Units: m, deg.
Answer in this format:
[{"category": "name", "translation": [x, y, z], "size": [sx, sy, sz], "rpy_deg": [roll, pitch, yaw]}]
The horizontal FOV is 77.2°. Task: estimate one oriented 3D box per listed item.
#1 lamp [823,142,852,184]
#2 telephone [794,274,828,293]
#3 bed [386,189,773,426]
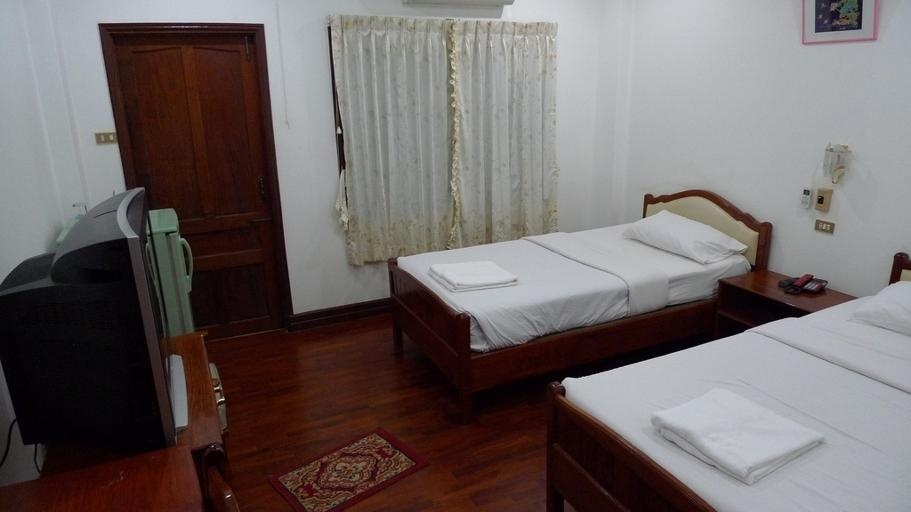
[{"category": "lamp", "translation": [3.355, -0.794, 5.031], "size": [0.191, 0.331, 0.067], "rpy_deg": [8, 24, 31]}, {"category": "telephone", "translation": [3.152, 0.260, 5.093], "size": [0.203, 0.053, 0.200], "rpy_deg": [-35, 41, -31]}, {"category": "bed", "translation": [1.249, 0.229, 5.645], "size": [3.420, 1.549, 1.848], "rpy_deg": [-11, 26, -20]}]
